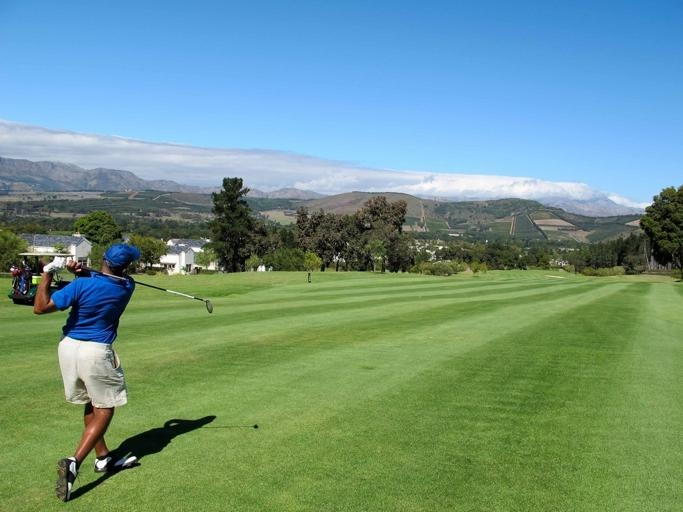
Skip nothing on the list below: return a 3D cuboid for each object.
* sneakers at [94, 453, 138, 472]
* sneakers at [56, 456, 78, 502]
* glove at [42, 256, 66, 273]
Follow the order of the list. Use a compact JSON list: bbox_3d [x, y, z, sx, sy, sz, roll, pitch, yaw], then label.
[{"bbox_3d":[-3.121,2.811,5.726,0.521,0.189,0.239,-3,-2,-11],"label":"sneakers"},{"bbox_3d":[-3.338,2.647,5.011,0.254,0.503,0.241,1,1,39],"label":"sneakers"},{"bbox_3d":[-3.748,0.126,5.335,0.331,0.128,0.220,-6,17,-2],"label":"glove"}]
